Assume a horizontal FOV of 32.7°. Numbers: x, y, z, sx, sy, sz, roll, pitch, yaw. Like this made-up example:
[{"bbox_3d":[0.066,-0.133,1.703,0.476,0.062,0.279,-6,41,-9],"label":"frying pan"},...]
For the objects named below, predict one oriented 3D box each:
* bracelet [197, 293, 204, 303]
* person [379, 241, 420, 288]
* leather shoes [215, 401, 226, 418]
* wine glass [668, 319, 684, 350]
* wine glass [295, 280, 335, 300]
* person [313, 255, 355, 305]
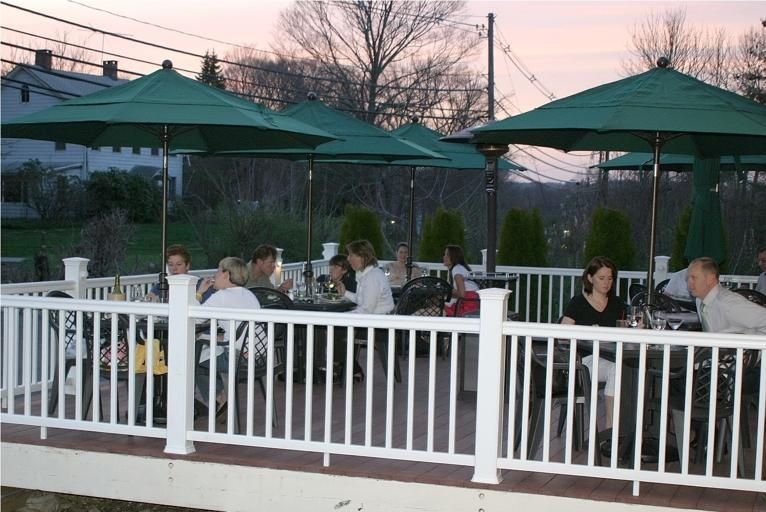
[{"bbox_3d":[-2.731,0.604,19.642,0.088,0.105,0.120,16,-11,0],"label":"bracelet"},{"bbox_3d":[0.282,0.193,23.168,0.954,0.796,0.620,0,-3,8],"label":"person"},{"bbox_3d":[-2.353,2.254,19.337,0.075,0.246,0.160,21,-12,-42],"label":"leather shoes"},{"bbox_3d":[4.174,1.098,18.668,0.193,0.423,0.071,8,5,36],"label":"wine glass"},{"bbox_3d":[-1.037,0.553,20.841,0.437,0.191,0.329,-3,6,-23],"label":"wine glass"},{"bbox_3d":[-0.694,0.478,21.553,0.507,0.587,0.859,12,-5,-40],"label":"person"}]
